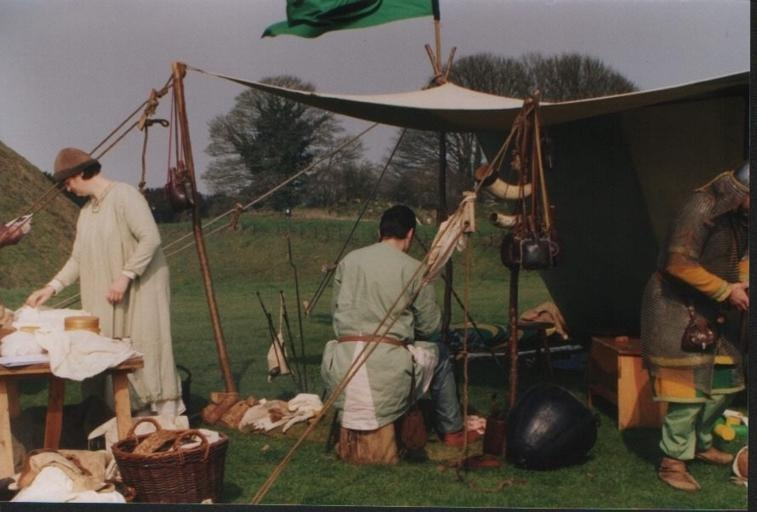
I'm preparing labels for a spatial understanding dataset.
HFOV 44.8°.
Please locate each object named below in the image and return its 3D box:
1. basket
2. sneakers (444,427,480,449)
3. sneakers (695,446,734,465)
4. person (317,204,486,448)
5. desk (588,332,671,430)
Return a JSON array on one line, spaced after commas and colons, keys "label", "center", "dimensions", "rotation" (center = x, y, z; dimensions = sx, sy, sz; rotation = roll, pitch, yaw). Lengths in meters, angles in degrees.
[{"label": "basket", "center": [-1.860, 1.724, 8.157], "dimensions": [0.828, 0.621, 0.724], "rotation": [-1, 2, -32]}, {"label": "sneakers", "center": [0.831, 1.766, 8.944], "dimensions": [0.299, 0.129, 0.238], "rotation": [-1, -4, -14]}, {"label": "sneakers", "center": [3.180, 1.870, 8.692], "dimensions": [0.342, 0.166, 0.136], "rotation": [-3, 6, 14]}, {"label": "person", "center": [0.117, 0.686, 8.760], "dimensions": [1.348, 2.329, 0.531], "rotation": [-2, 4, -5]}, {"label": "desk", "center": [2.575, 1.217, 9.385], "dimensions": [0.628, 0.918, 1.181], "rotation": [0, 0, -5]}]
